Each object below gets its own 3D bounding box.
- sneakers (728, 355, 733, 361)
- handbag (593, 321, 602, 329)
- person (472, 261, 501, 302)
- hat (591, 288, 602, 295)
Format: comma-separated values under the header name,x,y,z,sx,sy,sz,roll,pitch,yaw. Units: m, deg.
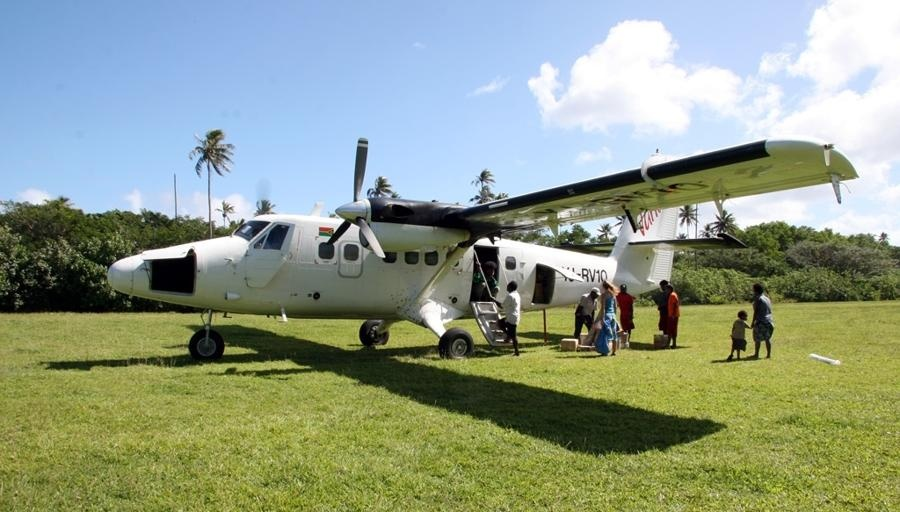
name,x,y,z,sx,sy,sz,roll,pitch,yaw
sneakers,7.848,2.856,16.876,0.187,0.125,0.072,-1,-5,-36
handbag,4.416,2.054,17.957,0.222,0.142,0.210,17,-16,23
person,1.181,0.803,18.439,0.871,1.200,0.732,5,4,-11
hat,4.684,1.139,19.139,0.236,0.117,0.356,23,2,42
